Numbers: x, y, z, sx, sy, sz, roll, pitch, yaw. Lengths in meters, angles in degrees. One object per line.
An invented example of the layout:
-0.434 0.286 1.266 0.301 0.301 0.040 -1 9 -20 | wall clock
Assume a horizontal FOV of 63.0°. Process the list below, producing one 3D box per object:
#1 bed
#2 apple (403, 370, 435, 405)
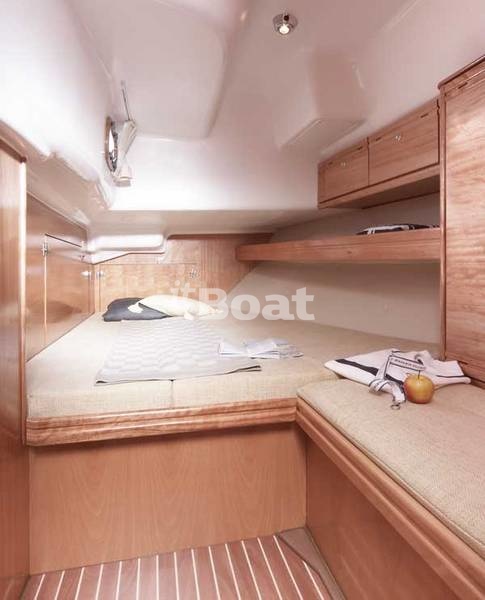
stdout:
-0.190 0.391 1.902 1.427 0.968 1.503 -1 4 -14 | bed
0.421 0.207 0.955 0.066 0.084 0.066 -4 0 6 | apple
